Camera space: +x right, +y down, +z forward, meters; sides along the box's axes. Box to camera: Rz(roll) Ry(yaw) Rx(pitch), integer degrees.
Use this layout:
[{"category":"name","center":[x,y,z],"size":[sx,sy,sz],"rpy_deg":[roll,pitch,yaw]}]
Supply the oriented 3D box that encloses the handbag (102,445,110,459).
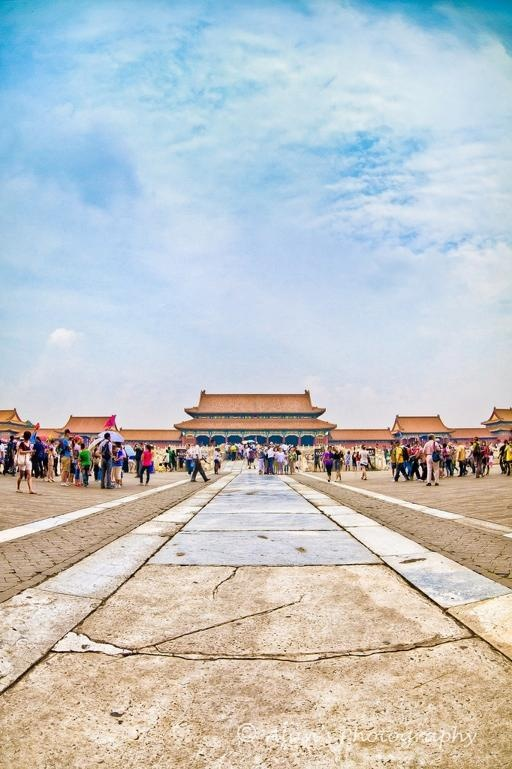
[{"category":"handbag","center":[-3.575,1.611,14.047],"size":[0.193,0.338,0.462],"rpy_deg":[0,-4,-12]}]

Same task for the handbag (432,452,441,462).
[{"category":"handbag","center":[4.503,1.811,14.806],"size":[0.206,0.262,0.155],"rpy_deg":[-3,-32,11]}]

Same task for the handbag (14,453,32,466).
[{"category":"handbag","center":[-4.525,1.523,11.521],"size":[0.258,0.335,0.360],"rpy_deg":[1,-4,-24]}]
